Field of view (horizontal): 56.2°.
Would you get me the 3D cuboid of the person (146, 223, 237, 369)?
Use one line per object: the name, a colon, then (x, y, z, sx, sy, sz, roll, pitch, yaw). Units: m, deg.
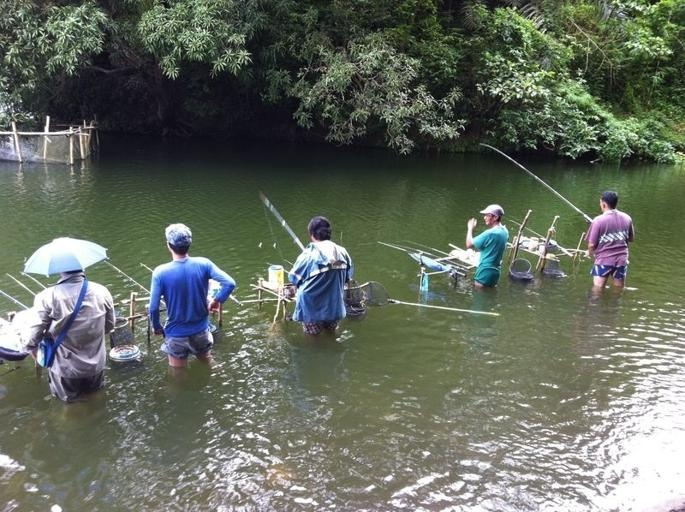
person: (-2.011, 0.566, 8.449, 0.991, 1.978, 0.307, -1, 12, -17)

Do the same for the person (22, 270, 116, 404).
person: (-3.517, 0.870, 8.257, 1.068, 1.623, 1.050, -4, 15, -41)

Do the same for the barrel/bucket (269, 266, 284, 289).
barrel/bucket: (-1.013, 0.315, 9.978, 0.233, 0.317, 0.343, 1, 11, -8)

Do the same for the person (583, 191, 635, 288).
person: (4.658, -0.233, 11.157, 0.671, 1.766, 0.792, 9, 13, 31)

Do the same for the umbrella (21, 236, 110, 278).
umbrella: (-3.404, 0.007, 7.889, 0.829, 0.401, 0.582, 4, 11, 9)

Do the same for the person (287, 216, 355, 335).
person: (-0.310, 0.455, 9.439, 0.915, 1.973, 0.895, -4, 17, -18)

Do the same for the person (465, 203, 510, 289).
person: (2.499, -0.131, 11.189, 0.774, 1.423, 0.698, 21, 8, 14)
